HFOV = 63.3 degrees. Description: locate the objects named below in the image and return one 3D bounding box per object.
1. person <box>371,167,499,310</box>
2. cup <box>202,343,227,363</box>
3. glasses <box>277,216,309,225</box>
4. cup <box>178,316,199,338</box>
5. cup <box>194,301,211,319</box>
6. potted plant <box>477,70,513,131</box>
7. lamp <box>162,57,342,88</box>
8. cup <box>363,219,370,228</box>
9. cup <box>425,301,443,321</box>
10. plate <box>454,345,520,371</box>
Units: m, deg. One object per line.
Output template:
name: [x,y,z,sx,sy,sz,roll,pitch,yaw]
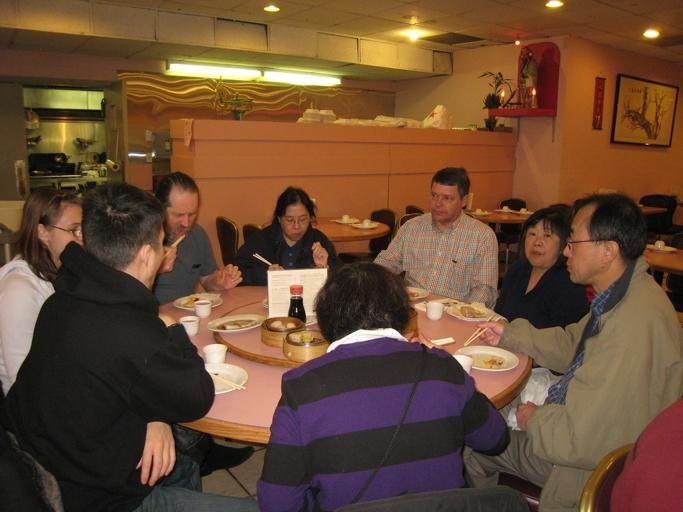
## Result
person: [0.593,-0.011,3.708,0.851,1.091,0.612,9,8,22]
cup: [-0.510,0.389,2.236,0.077,0.049,0.075,1,-1,0]
glasses: [-0.295,-0.232,3.551,0.181,0.048,0.112,-1,7,-8]
cup: [-0.692,0.321,2.519,0.086,0.067,0.086,1,0,0]
cup: [-0.675,0.261,2.711,0.071,0.065,0.087,1,-1,23]
potted plant: [2.256,-2.292,8.087,0.475,0.935,0.881,2,7,12]
lamp: [-1.290,-2.711,8.325,2.662,0.334,0.249,-4,8,-34]
cup: [0.255,-0.316,5.439,0.078,0.086,0.077,0,6,0]
cup: [0.455,0.269,2.741,0.077,0.068,0.095,0,-3,15]
plate: [0.629,0.434,2.326,0.133,0.015,0.128,-6,19,-18]
